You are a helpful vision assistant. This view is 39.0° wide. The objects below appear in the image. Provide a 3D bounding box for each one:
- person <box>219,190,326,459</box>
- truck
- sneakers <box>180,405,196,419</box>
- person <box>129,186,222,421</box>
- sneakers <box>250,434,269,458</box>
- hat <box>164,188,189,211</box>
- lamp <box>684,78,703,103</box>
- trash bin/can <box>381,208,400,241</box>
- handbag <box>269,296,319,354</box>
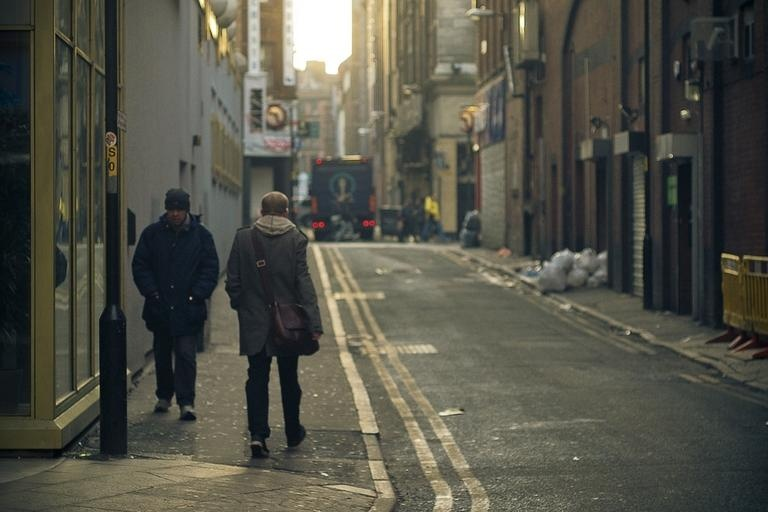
[{"bbox_3d":[-1.365,0.825,13.281,1.117,3.141,0.817,-1,6,-9],"label":"person"},{"bbox_3d":[-1.861,-2.687,48.350,2.552,2.767,3.687,0,1,-1],"label":"truck"},{"bbox_3d":[-2.622,2.066,14.430,0.207,0.192,0.195,-2,6,-12],"label":"sneakers"},{"bbox_3d":[-2.789,0.634,14.524,1.103,3.019,0.711,-1,6,-5],"label":"person"},{"bbox_3d":[-1.516,2.291,13.118,0.213,0.275,0.251,-1,6,-6],"label":"sneakers"},{"bbox_3d":[-2.793,-0.757,14.567,0.297,0.253,0.263,-3,1,4],"label":"hat"},{"bbox_3d":[6.058,-3.230,21.429,0.366,0.664,0.424,0,-3,6],"label":"lamp"},{"bbox_3d":[0.142,-1.524,48.543,1.035,1.561,1.090,1,-2,5],"label":"trash bin/can"},{"bbox_3d":[-1.112,0.846,13.098,0.633,0.684,0.264,2,1,-6],"label":"handbag"}]
